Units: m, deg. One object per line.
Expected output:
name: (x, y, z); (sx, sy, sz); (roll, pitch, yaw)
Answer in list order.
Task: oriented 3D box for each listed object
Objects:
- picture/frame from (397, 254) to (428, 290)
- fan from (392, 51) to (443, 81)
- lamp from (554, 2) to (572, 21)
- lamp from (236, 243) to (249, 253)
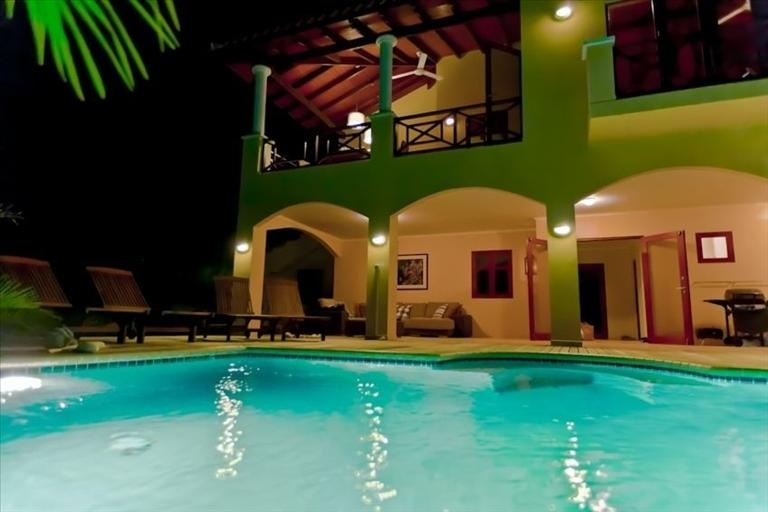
picture/frame: (0.843, 0.465, 14.896); (0.988, 1.027, 0.067); (-1, -8, 21)
fan: (0.890, -5.187, 14.507); (1.268, 0.851, 2.978); (2, 8, 1)
lamp: (3.458, -4.732, 10.059); (0.333, 0.314, 0.195); (4, 9, 18)
lamp: (-3.201, -0.196, 11.852); (0.366, 0.234, 0.109); (5, 9, 21)
